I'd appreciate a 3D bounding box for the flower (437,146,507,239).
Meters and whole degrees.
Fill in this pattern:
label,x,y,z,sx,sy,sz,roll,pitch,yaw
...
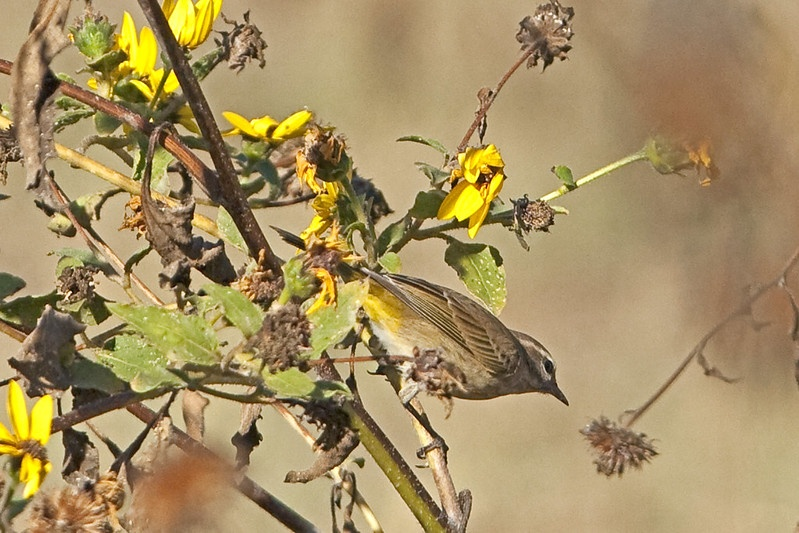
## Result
label,x,y,z,sx,sy,sz,roll,pitch,yaw
flower,0.229,-0.248,3.356,0.107,0.311,0.204,-17,37,-41

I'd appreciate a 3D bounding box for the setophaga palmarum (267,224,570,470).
label,x,y,z,sx,sy,sz,roll,pitch,yaw
setophaga palmarum,-0.043,0.191,3.143,0.933,0.354,0.272,42,-30,-6
